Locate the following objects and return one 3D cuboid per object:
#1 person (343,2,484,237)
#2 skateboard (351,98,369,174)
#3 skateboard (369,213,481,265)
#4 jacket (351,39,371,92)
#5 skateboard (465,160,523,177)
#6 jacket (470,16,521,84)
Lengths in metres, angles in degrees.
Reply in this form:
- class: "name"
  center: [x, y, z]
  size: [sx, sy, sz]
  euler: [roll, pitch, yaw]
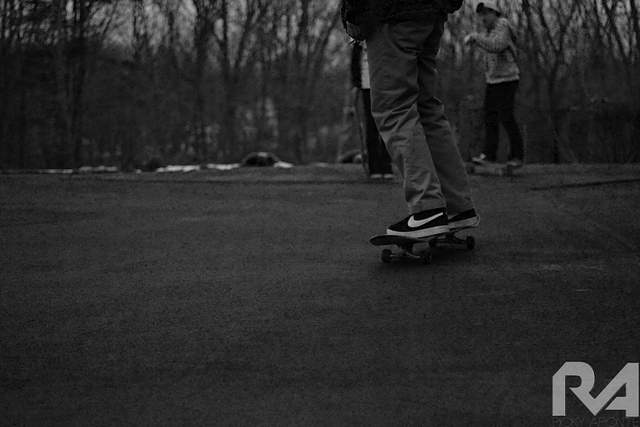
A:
- class: "person"
  center: [0.453, -0.445, 3.425]
  size: [0.548, 1.072, 0.500]
  euler: [-7, 14, -24]
- class: "skateboard"
  center: [0.305, -0.566, 5.349]
  size: [0.121, 0.573, 0.275]
  euler: [0, 13, 5]
- class: "skateboard"
  center: [0.443, 0.104, 3.334]
  size: [0.178, 0.116, 0.624]
  euler: [0, 2, 31]
- class: "jacket"
  center: [0.302, -1.060, 5.285]
  size: [0.105, 0.379, 0.326]
  euler: [1, 14, 9]
- class: "skateboard"
  center: [1.233, -0.321, 5.201]
  size: [0.406, 0.077, 0.136]
  euler: [7, 17, 26]
- class: "jacket"
  center: [1.226, -1.163, 5.096]
  size: [0.338, 0.505, 0.404]
  euler: [3, 19, 16]
